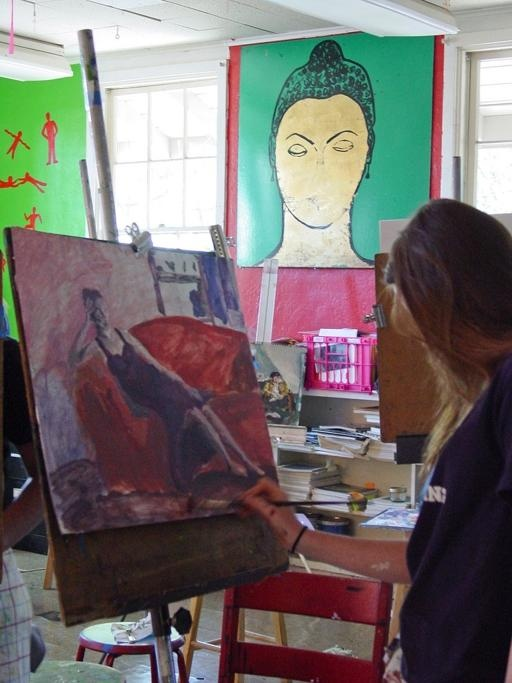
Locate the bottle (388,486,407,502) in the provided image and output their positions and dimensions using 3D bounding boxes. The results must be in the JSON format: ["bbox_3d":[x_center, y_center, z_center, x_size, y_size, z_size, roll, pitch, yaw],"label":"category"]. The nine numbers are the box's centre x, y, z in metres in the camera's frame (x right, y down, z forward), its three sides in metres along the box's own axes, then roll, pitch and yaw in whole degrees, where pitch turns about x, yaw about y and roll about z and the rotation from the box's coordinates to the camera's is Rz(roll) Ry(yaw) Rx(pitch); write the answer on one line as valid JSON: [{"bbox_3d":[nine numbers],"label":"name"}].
[{"bbox_3d":[0.643,0.695,2.968,0.092,0.062,0.092,1,-4,0],"label":"bottle"}]

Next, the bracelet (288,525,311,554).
[{"bbox_3d":[0.066,0.324,1.051,0.012,0.041,0.040,21,24,-8],"label":"bracelet"}]
